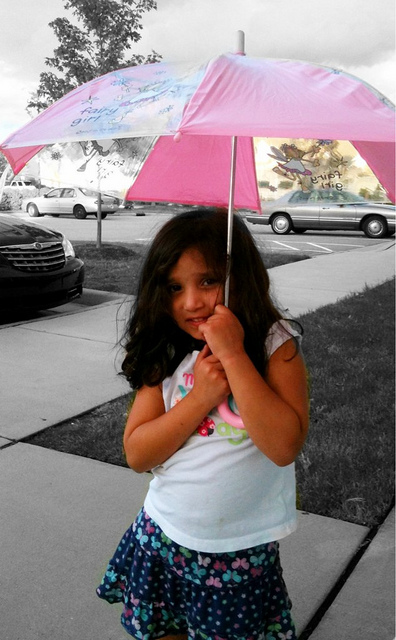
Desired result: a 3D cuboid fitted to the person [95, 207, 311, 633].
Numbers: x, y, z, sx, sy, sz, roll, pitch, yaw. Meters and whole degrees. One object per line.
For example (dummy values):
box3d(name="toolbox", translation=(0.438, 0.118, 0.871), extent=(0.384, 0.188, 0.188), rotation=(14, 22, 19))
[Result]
box3d(name="person", translation=(0.007, 0.232, 1.002), extent=(0.467, 0.942, 0.342), rotation=(3, 12, 23))

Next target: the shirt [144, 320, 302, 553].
box3d(name="shirt", translation=(0.047, 0.238, 0.976), extent=(0.301, 0.420, 0.238), rotation=(3, 7, 12))
